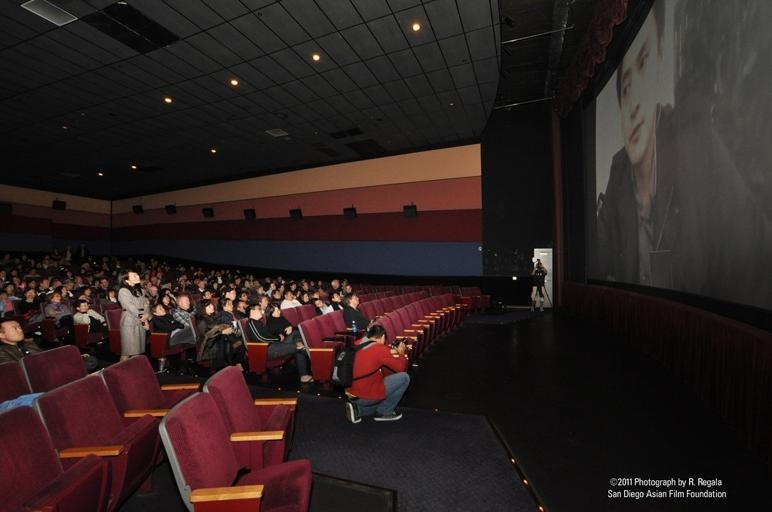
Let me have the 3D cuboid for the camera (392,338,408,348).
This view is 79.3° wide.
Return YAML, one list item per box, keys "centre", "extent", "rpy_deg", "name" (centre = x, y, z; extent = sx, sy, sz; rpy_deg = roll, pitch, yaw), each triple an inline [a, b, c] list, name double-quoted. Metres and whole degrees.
- centre: [0.161, 1.243, 6.666]
  extent: [0.191, 0.088, 0.200]
  rpy_deg: [-2, 3, 14]
  name: "camera"

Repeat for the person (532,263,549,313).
- centre: [4.329, 0.832, 13.263]
  extent: [0.392, 1.461, 0.494]
  rpy_deg: [6, 15, 27]
  name: "person"

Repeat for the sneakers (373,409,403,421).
- centre: [0.026, 2.008, 5.947]
  extent: [0.336, 0.145, 0.139]
  rpy_deg: [0, -8, -5]
  name: "sneakers"

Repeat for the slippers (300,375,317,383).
- centre: [-1.190, 1.854, 7.034]
  extent: [0.099, 0.086, 0.197]
  rpy_deg: [3, 5, 38]
  name: "slippers"

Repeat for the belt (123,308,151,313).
- centre: [-3.949, 0.859, 7.421]
  extent: [0.181, 0.101, 0.242]
  rpy_deg: [3, -7, -45]
  name: "belt"

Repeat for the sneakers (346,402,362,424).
- centre: [-0.413, 1.967, 5.892]
  extent: [0.130, 0.329, 0.116]
  rpy_deg: [-9, -2, -13]
  name: "sneakers"

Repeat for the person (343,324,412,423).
- centre: [-0.118, 1.533, 6.163]
  extent: [0.785, 1.187, 0.822]
  rpy_deg: [-4, -9, 23]
  name: "person"
